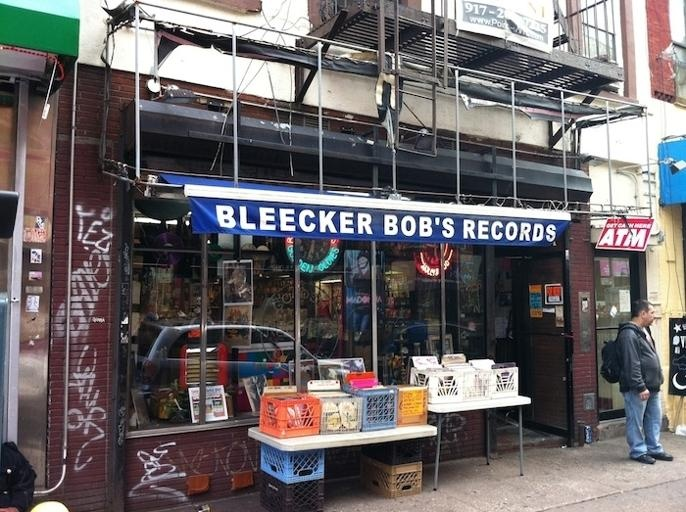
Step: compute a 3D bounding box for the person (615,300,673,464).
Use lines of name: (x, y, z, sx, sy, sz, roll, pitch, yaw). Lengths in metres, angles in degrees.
person: (4.600, 1.892, 10.763, 0.721, 2.391, 0.612, 1, 3, -9)

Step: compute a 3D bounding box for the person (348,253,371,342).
person: (0.229, 0.581, 10.198, 0.364, 1.289, 0.124, 0, 3, -20)

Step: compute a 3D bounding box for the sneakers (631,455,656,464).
sneakers: (4.551, 3.045, 10.685, 0.382, 0.184, 0.136, -7, -9, 39)

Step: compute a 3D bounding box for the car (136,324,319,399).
car: (-1.795, 1.323, 9.606, 1.530, 0.845, 0.867, -3, -3, -25)

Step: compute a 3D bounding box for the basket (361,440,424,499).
basket: (0.650, 2.774, 9.532, 0.676, 0.478, 0.695, 1, -4, -23)

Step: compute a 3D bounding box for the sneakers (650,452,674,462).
sneakers: (4.895, 3.055, 10.789, 0.344, 0.169, 0.136, -2, -3, 12)
